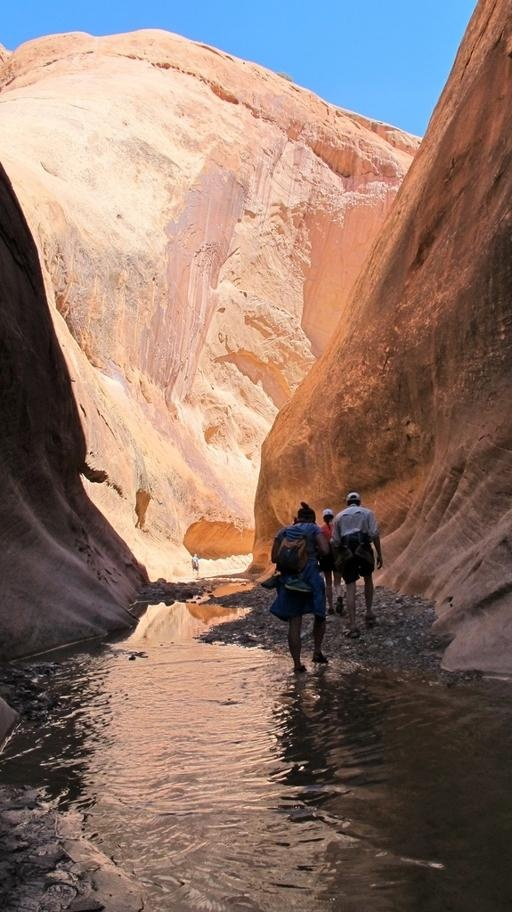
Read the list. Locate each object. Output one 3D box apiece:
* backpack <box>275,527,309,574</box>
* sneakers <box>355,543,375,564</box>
[{"bbox_3d":[0.240,0.679,5.640,0.231,0.280,0.155,-3,-2,5],"label":"backpack"},{"bbox_3d":[0.914,0.809,6.730,0.098,0.192,0.334,-4,-3,19],"label":"sneakers"}]
